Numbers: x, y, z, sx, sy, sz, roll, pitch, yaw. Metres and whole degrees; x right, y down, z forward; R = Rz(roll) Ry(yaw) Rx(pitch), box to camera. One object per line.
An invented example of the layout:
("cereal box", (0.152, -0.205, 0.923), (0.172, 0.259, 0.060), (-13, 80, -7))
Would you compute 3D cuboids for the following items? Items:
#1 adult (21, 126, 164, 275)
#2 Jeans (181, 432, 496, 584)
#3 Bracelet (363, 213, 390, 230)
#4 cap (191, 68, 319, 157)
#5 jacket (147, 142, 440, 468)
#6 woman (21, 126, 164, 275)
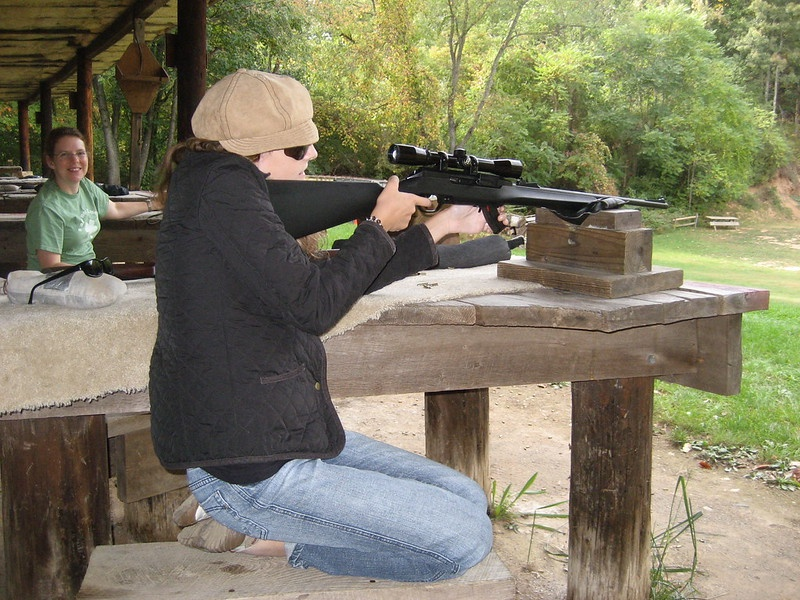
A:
("adult", (-2.339, -0.617, 5.976), (1.031, 1.325, 1.040), (4, 28, -10))
("Jeans", (-0.224, 0.877, 3.283), (1.077, 0.346, 0.597), (19, -5, -4))
("Bracelet", (-0.098, -0.330, 3.287), (0.083, 0.029, 0.061), (19, 25, -16))
("cap", (-0.562, -0.741, 3.079), (0.440, 0.206, 0.348), (15, 28, 34))
("jacket", (-0.435, 0.021, 3.383), (1.306, 1.177, 1.006), (-4, -2, 17))
("woman", (-2.331, -0.621, 5.969), (1.025, 1.344, 1.001), (2, 30, -16))
